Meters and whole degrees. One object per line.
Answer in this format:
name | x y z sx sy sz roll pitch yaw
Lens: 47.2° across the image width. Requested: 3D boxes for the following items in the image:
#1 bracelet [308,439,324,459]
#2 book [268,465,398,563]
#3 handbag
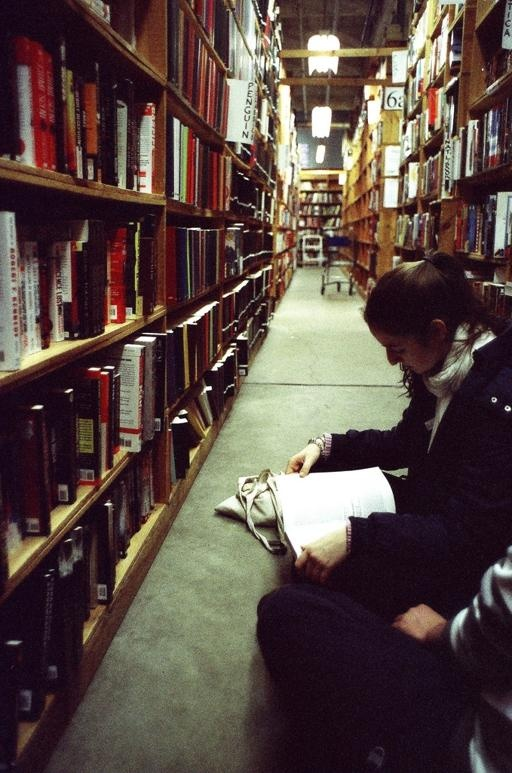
bracelet | 0.177 0.177 1.664 0.028 0.054 0.017 3 -3 1
book | 0.187 0.304 1.420 0.168 0.080 0.225 -7 47 8
handbag | 0.007 0.431 2.035 0.233 0.101 0.239 12 14 42
